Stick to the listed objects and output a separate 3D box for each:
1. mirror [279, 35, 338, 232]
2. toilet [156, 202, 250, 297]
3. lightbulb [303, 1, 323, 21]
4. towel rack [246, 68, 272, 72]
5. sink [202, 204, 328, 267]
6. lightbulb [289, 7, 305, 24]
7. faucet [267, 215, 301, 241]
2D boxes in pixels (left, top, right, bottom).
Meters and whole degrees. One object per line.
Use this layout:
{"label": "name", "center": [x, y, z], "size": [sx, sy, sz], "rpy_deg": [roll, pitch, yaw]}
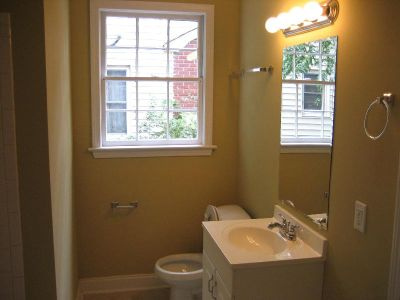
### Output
{"label": "mirror", "center": [0.698, -0.214, 2.335], "size": [0.535, 1.135, 0.015], "rpy_deg": [-5, 4, -31]}
{"label": "toilet", "center": [0.034, 0.870, 3.556], "size": [0.898, 1.213, 0.766], "rpy_deg": [2, -2, -11]}
{"label": "lightbulb", "center": [0.663, -0.821, 2.082], "size": [0.105, 0.095, 0.095], "rpy_deg": [-11, 13, -42]}
{"label": "towel rack", "center": [0.462, -0.645, 2.878], "size": [0.052, 0.046, 0.354], "rpy_deg": [-6, 12, -24]}
{"label": "sink", "center": [0.461, 0.592, 2.418], "size": [0.410, 0.275, 0.612], "rpy_deg": [1, 2, -11]}
{"label": "lightbulb", "center": [0.591, -0.825, 2.166], "size": [0.084, 0.094, 0.103], "rpy_deg": [-8, 1, 9]}
{"label": "faucet", "center": [0.575, 0.551, 2.433], "size": [0.082, 0.152, 0.276], "rpy_deg": [3, -10, -15]}
